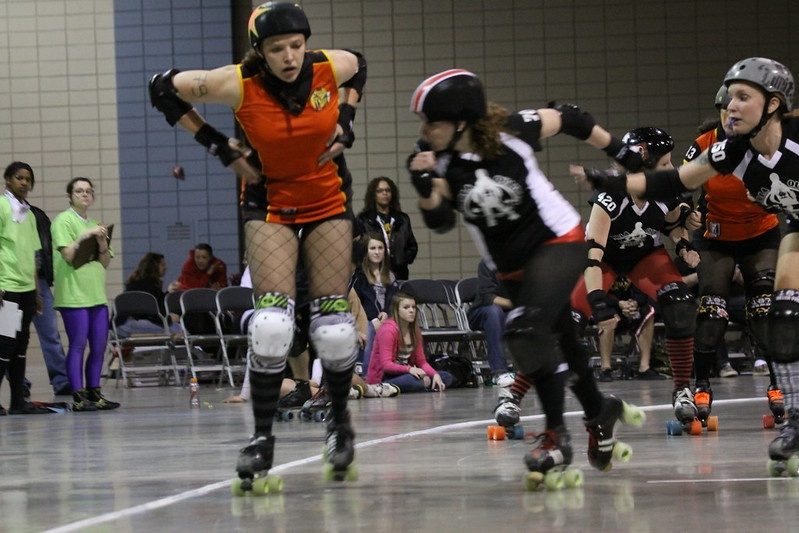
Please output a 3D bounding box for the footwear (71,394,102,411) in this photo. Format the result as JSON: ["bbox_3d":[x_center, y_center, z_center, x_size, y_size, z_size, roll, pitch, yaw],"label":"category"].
[{"bbox_3d":[-2.978,1.262,10.005,0.238,0.164,0.157,-4,-2,0],"label":"footwear"}]

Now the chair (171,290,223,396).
[{"bbox_3d":[-2.422,0.840,13.064,0.546,0.927,0.680,-6,-29,-39],"label":"chair"}]

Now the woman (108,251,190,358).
[{"bbox_3d":[-3.429,0.611,13.904,0.502,0.817,0.637,16,1,-8],"label":"woman"}]

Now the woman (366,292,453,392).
[{"bbox_3d":[-0.091,0.845,11.493,1.032,1.207,0.858,-1,-1,28],"label":"woman"}]

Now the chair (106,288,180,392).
[{"bbox_3d":[-3.124,0.819,12.936,0.718,0.991,0.811,0,1,-25],"label":"chair"}]

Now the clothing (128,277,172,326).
[{"bbox_3d":[-3.343,0.470,13.991,0.597,0.739,0.661,0,1,2],"label":"clothing"}]

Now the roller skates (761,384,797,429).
[{"bbox_3d":[2.805,1.010,7.883,0.241,0.237,0.487,-4,12,14],"label":"roller skates"}]

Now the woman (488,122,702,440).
[{"bbox_3d":[1.510,0.101,7.889,1.660,2.234,1.257,-3,11,-12],"label":"woman"}]

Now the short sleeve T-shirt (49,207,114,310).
[{"bbox_3d":[-3.124,-0.083,10.263,0.475,0.967,0.336,-3,-2,-18],"label":"short sleeve T-shirt"}]

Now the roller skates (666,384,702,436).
[{"bbox_3d":[2.065,1.015,7.683,0.220,0.299,0.484,2,10,14],"label":"roller skates"}]

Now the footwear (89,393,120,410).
[{"bbox_3d":[-2.837,1.284,10.109,0.342,0.150,0.113,1,0,-4],"label":"footwear"}]

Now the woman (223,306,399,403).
[{"bbox_3d":[-0.598,0.706,8.412,1.132,0.774,0.621,1,3,-28],"label":"woman"}]

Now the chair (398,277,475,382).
[{"bbox_3d":[0.384,0.781,12.441,0.803,1.233,0.947,-9,1,3],"label":"chair"}]

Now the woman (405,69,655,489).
[{"bbox_3d":[0.727,0.032,6.345,1.280,1.832,0.621,-4,-2,0],"label":"woman"}]

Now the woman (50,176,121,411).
[{"bbox_3d":[-3.029,0.263,10.313,0.718,2.267,0.761,-3,-5,23],"label":"woman"}]

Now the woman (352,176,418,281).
[{"bbox_3d":[-0.189,-0.159,12.286,0.801,1.711,0.548,-5,10,-21],"label":"woman"}]

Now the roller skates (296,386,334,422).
[{"bbox_3d":[-0.701,1.152,8.846,0.221,0.261,0.637,-1,-10,7],"label":"roller skates"}]

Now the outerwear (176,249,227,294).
[{"bbox_3d":[-2.702,0.020,14.354,0.691,1.013,0.573,-1,-3,-7],"label":"outerwear"}]

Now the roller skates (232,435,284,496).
[{"bbox_3d":[-0.817,1.159,6.169,0.149,0.211,0.451,-1,-7,6],"label":"roller skates"}]

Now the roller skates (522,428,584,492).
[{"bbox_3d":[0.884,1.125,6.138,0.376,0.346,0.253,9,-15,-34],"label":"roller skates"}]

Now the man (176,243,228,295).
[{"bbox_3d":[-2.706,0.032,14.548,0.779,1.094,0.621,0,-1,-9],"label":"man"}]
